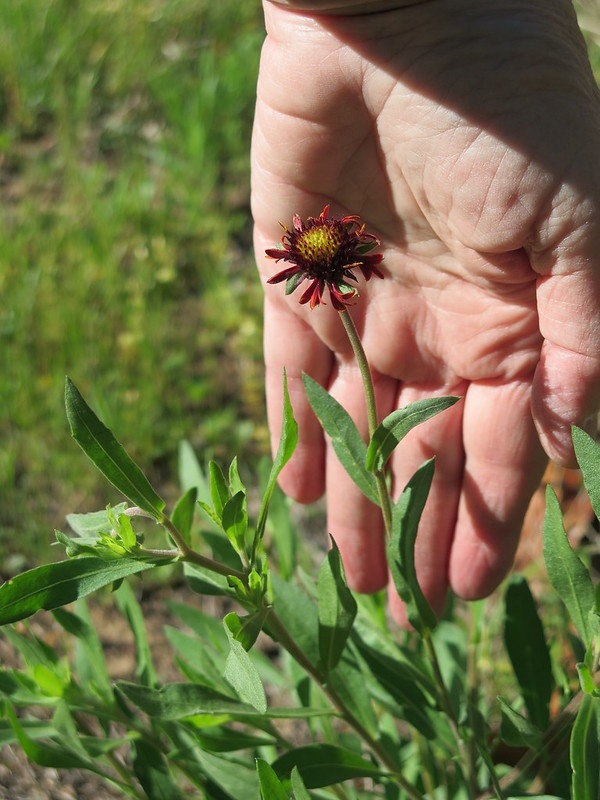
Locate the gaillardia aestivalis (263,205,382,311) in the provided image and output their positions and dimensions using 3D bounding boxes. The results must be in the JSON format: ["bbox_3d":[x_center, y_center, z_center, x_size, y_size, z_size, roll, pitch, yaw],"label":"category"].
[{"bbox_3d":[0.028,-0.225,1.170,0.188,0.190,0.068,-9,78,31],"label":"gaillardia aestivalis"}]
